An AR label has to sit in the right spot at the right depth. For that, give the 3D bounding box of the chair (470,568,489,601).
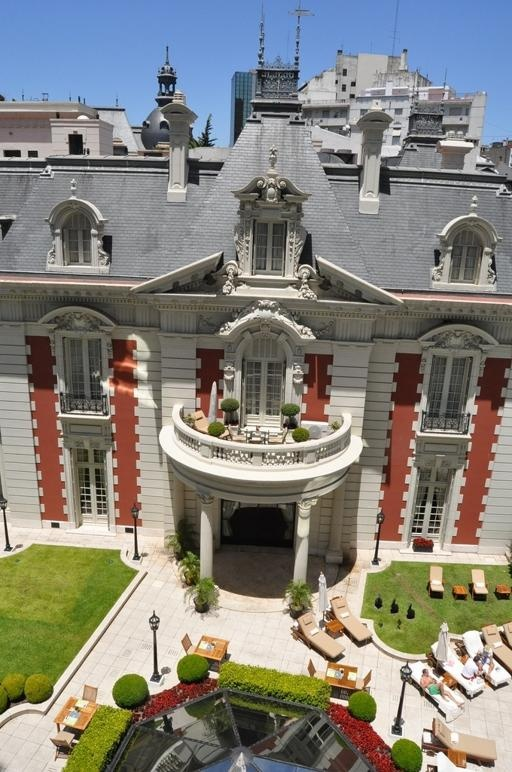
[{"bbox_3d":[8.772,7.910,30.041,0.661,0.725,1.080,1,20,9],"label":"chair"}]

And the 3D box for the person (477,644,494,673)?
[{"bbox_3d":[7.897,9.553,26.227,0.508,0.714,0.719,0,-4,12],"label":"person"}]

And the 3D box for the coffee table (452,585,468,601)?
[{"bbox_3d":[8.040,8.231,29.979,0.459,0.161,0.664,3,14,12],"label":"coffee table"}]

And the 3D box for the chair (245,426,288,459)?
[{"bbox_3d":[0.413,2.163,28.860,1.500,0.804,3.051,3,14,2],"label":"chair"}]

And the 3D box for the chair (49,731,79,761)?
[{"bbox_3d":[-5.646,10.684,22.615,0.676,0.953,0.703,8,44,4],"label":"chair"}]

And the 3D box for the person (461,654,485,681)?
[{"bbox_3d":[7.315,9.627,25.721,0.406,0.697,0.421,-10,30,-30],"label":"person"}]

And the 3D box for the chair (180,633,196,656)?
[{"bbox_3d":[-2.333,9.041,26.349,0.572,0.795,0.462,15,49,13],"label":"chair"}]

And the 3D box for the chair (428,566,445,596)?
[{"bbox_3d":[7.178,7.896,30.361,0.695,0.964,0.959,0,-7,14],"label":"chair"}]

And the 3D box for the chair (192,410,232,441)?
[{"bbox_3d":[-1.784,1.615,29.723,1.498,0.824,0.829,20,31,36],"label":"chair"}]

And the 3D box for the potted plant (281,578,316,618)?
[{"bbox_3d":[1.497,8.112,29.079,1.037,1.305,1.312,5,7,35],"label":"potted plant"}]

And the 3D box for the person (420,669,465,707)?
[{"bbox_3d":[5.934,9.936,24.858,0.630,0.588,1.175,-16,14,-24],"label":"person"}]

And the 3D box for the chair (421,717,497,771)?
[{"bbox_3d":[6.015,10.776,22.620,1.750,0.741,1.208,4,43,10],"label":"chair"}]

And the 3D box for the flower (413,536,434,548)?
[{"bbox_3d":[7.298,6.976,33.416,0.554,0.230,0.552,2,7,6],"label":"flower"}]

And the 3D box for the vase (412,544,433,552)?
[{"bbox_3d":[7.301,7.196,33.394,0.512,0.216,0.511,2,4,6],"label":"vase"}]

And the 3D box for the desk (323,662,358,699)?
[{"bbox_3d":[2.853,9.671,25.057,0.961,0.864,0.953,6,21,14],"label":"desk"}]

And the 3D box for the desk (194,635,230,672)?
[{"bbox_3d":[-1.500,9.282,26.184,1.009,0.734,1.011,15,29,14],"label":"desk"}]
